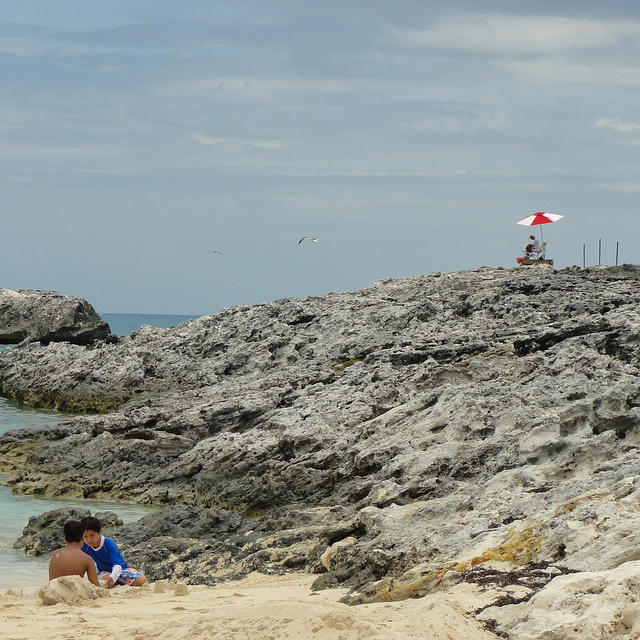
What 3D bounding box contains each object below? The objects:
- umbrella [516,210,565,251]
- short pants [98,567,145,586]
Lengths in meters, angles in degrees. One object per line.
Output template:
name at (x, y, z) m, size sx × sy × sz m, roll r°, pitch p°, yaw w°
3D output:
umbrella at (6.560, -2.771, 40.867) m, size 1.000 × 0.771 × 0.869 m, roll 0°, pitch -15°, yaw -5°
short pants at (-2.985, 3.740, 20.153) m, size 0.709 × 0.174 × 0.322 m, roll 2°, pitch 1°, yaw -44°
